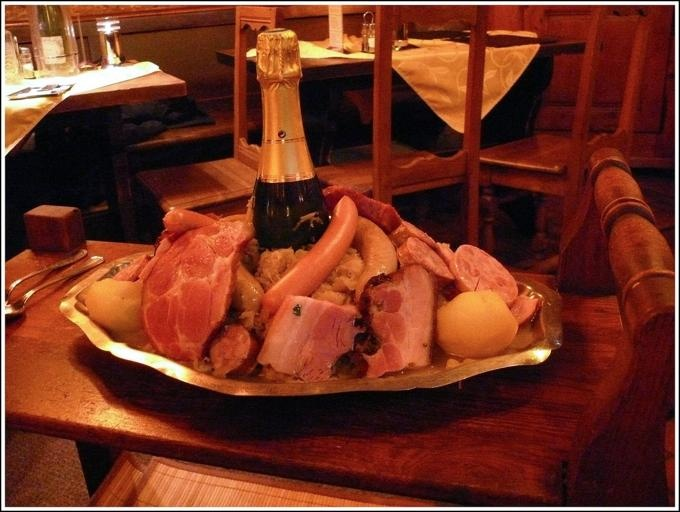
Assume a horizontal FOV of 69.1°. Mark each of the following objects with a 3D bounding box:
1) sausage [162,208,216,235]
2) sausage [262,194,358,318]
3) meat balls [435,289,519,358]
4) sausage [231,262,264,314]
[{"bbox_3d":[-0.228,-0.054,0.750,0.070,0.038,0.027,1,54,-9],"label":"sausage"},{"bbox_3d":[-0.046,0.003,0.716,0.064,0.044,0.214,21,59,36],"label":"sausage"},{"bbox_3d":[0.200,0.093,0.746,0.104,0.097,0.098,3,3,0],"label":"meat balls"},{"bbox_3d":[-0.127,0.042,0.687,0.048,0.060,0.052,0,21,-4],"label":"sausage"}]
